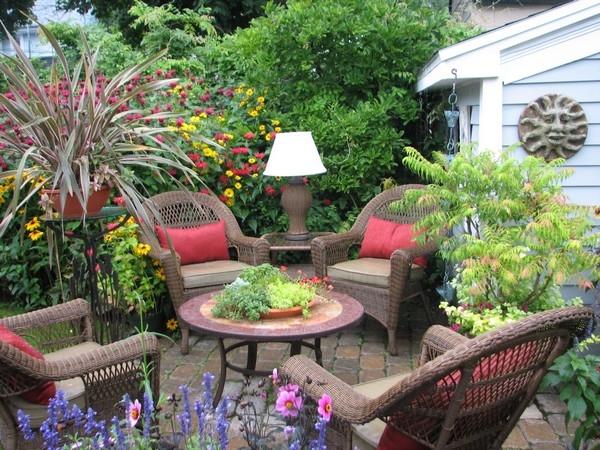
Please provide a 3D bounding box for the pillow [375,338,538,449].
[{"bbox_3d":[0.696,0.759,2.222,0.683,0.519,0.144,-1,16,-4],"label":"pillow"}]

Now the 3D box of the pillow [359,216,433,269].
[{"bbox_3d":[0.841,0.157,4.477,0.401,0.153,0.279,7,62,47],"label":"pillow"}]

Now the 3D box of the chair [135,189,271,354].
[{"bbox_3d":[-0.853,0.378,4.596,1.028,1.293,0.961,-5,8,-29],"label":"chair"}]

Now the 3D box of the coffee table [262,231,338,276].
[{"bbox_3d":[-0.058,0.285,5.057,0.544,0.341,0.378,2,21,9],"label":"coffee table"}]

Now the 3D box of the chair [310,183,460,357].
[{"bbox_3d":[0.714,0.326,4.656,1.011,1.314,1.065,5,9,31],"label":"chair"}]
